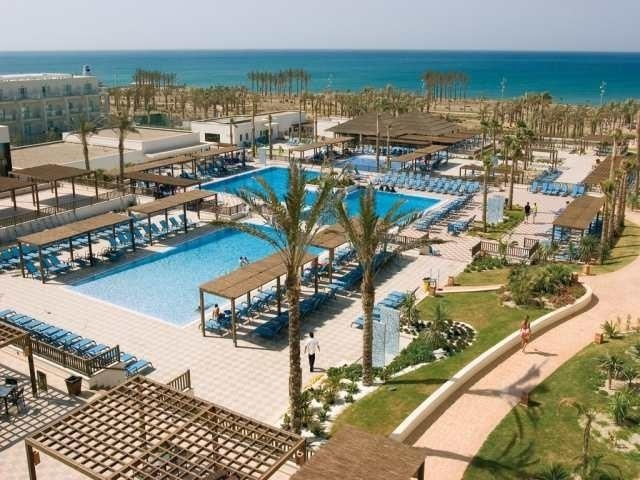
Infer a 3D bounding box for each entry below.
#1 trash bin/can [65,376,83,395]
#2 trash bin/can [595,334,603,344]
[{"bbox_3d":[-9.043,5.366,21.370,0.648,0.608,0.534,7,15,23],"label":"trash bin/can"},{"bbox_3d":[10.998,3.919,23.077,0.228,0.303,0.381,7,14,36],"label":"trash bin/can"}]
